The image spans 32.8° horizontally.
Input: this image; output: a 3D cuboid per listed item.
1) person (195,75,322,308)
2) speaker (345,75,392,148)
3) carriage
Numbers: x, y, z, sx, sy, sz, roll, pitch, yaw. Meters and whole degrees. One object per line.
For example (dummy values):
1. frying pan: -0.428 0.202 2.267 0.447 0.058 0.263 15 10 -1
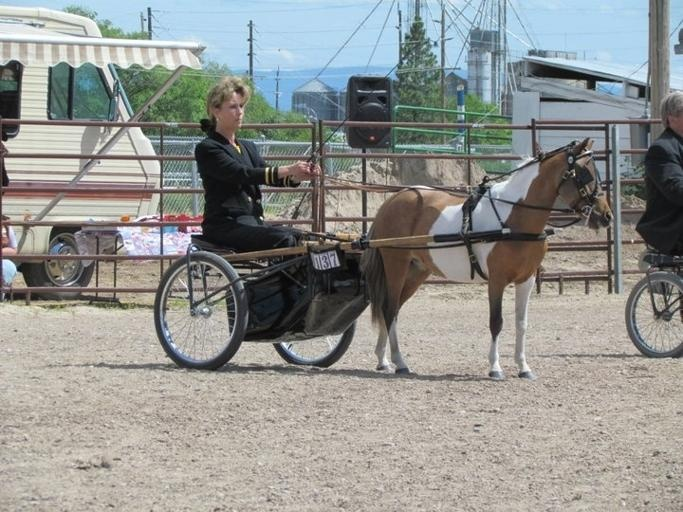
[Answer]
1. person: -0.963 -0.594 11.074 0.962 1.847 0.940 16 18 -29
2. speaker: 0.381 -1.897 15.032 0.488 1.054 0.414 -1 14 -8
3. carriage: -0.791 -0.600 11.099 1.307 2.091 0.735 3 7 32
